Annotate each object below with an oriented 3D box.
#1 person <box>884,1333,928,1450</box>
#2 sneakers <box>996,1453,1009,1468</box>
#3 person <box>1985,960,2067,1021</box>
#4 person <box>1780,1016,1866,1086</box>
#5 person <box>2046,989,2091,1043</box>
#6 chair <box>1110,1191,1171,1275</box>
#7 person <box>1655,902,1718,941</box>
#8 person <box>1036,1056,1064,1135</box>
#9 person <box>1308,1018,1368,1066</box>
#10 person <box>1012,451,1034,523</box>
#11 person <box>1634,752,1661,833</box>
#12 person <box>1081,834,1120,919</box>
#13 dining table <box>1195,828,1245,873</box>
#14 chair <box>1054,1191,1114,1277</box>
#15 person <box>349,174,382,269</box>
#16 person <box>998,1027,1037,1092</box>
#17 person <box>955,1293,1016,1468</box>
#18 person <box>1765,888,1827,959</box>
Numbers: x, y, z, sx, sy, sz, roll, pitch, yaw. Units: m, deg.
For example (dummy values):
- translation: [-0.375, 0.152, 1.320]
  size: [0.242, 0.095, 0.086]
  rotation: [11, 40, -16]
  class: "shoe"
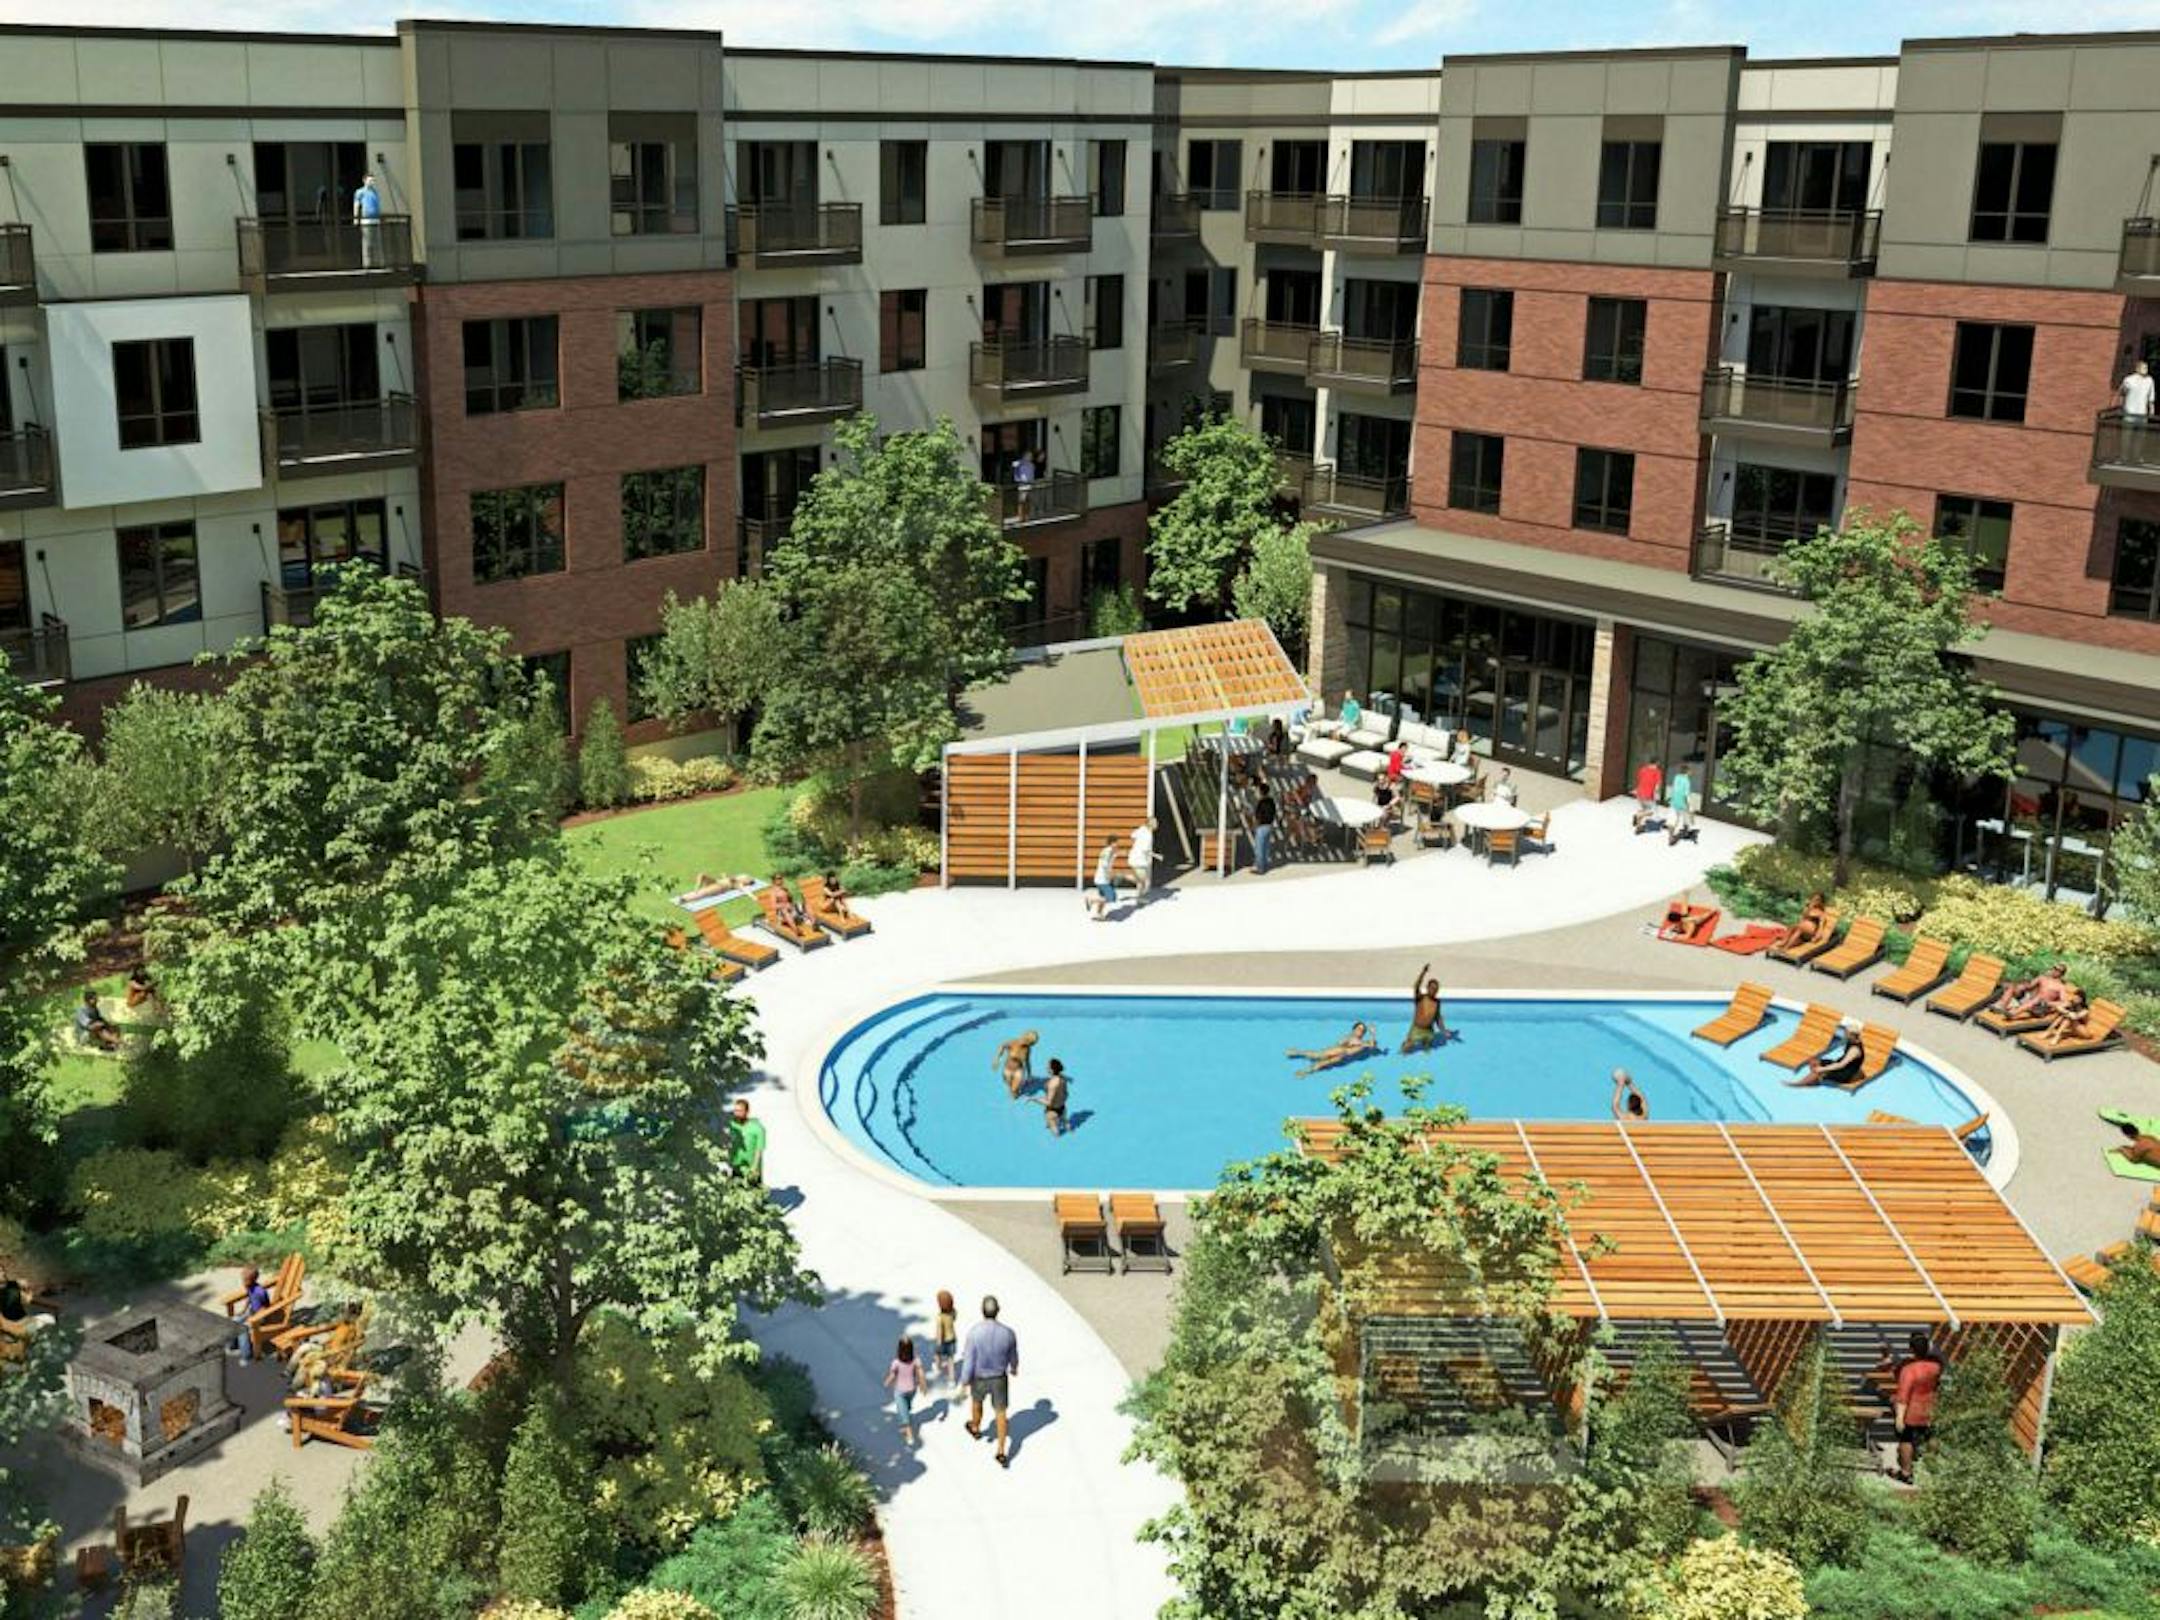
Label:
- translation: [-2.359, 7.543, 21.853]
  size: [0.433, 1.508, 1.317]
  rotation: [-2, 11, -6]
  class: "person"
- translation: [-1.021, 8.389, 21.205]
  size: [0.141, 0.138, 0.206]
  rotation: [-1, 11, -5]
  class: "sneakers"
- translation: [18.854, 3.774, 32.473]
  size: [1.373, 0.488, 0.999]
  rotation: [-23, 27, -15]
  class: "person"
- translation: [14.391, 4.686, 31.860]
  size: [1.467, 1.607, 0.840]
  rotation: [7, 21, 16]
  class: "person"
- translation: [19.254, 4.042, 31.920]
  size: [1.272, 0.733, 0.452]
  rotation: [-8, 13, -36]
  class: "person"
- translation: [0.865, 6.582, 25.539]
  size: [0.651, 0.497, 1.203]
  rotation: [2, 33, -5]
  class: "chair"
- translation: [13.498, 2.584, 36.618]
  size: [0.928, 0.300, 1.002]
  rotation: [10, 38, 22]
  class: "person"
- translation: [-0.500, 5.149, 29.888]
  size: [0.473, 1.447, 1.083]
  rotation: [-1, 11, -2]
  class: "person"
- translation: [5.130, 4.800, 32.128]
  size: [1.083, 0.532, 0.822]
  rotation: [-35, 20, -13]
  class: "person"
- translation: [-1.824, -9.871, 50.936]
  size: [0.672, 1.800, 1.172]
  rotation: [-1, 11, -4]
  class: "person"
- translation: [14.677, -0.348, 42.444]
  size: [0.523, 1.550, 2.028]
  rotation: [4, 12, 21]
  class: "person"
- translation: [0.419, 1.602, 37.800]
  size: [0.850, 1.509, 1.860]
  rotation: [-1, 11, 0]
  class: "person"
- translation: [3.472, 1.093, 39.780]
  size: [1.239, 1.182, 0.912]
  rotation: [-4, 15, -14]
  class: "dining table"
- translation: [0.026, 6.570, 25.354]
  size: [0.671, 0.559, 1.224]
  rotation: [2, 31, -4]
  class: "chair"
- translation: [-16.323, -13.394, 37.510]
  size: [0.612, 2.212, 0.865]
  rotation: [-5, 11, -22]
  class: "person"
- translation: [-1.247, 4.789, 31.314]
  size: [0.648, 1.163, 1.044]
  rotation: [-1, 11, -3]
  class: "person"
- translation: [-1.237, 7.332, 21.557]
  size: [0.660, 2.070, 1.327]
  rotation: [-2, 11, -6]
  class: "person"
- translation: [15.757, 2.640, 36.093]
  size: [0.819, 1.278, 2.180]
  rotation: [11, 24, 43]
  class: "person"
